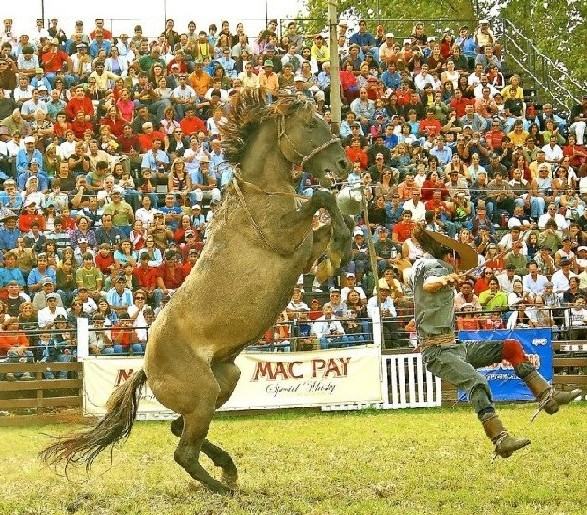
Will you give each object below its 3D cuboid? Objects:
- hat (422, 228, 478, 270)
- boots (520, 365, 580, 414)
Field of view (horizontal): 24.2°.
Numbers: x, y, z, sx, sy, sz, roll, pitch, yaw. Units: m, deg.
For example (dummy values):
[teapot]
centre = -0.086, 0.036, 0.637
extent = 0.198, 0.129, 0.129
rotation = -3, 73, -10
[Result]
[hat]
centre = 2.131, -0.003, 18.567
extent = 0.632, 0.191, 0.609
rotation = 14, -12, 41
[boots]
centre = 3.415, 1.763, 18.128
extent = 0.736, 0.626, 0.507
rotation = -3, -4, 29
